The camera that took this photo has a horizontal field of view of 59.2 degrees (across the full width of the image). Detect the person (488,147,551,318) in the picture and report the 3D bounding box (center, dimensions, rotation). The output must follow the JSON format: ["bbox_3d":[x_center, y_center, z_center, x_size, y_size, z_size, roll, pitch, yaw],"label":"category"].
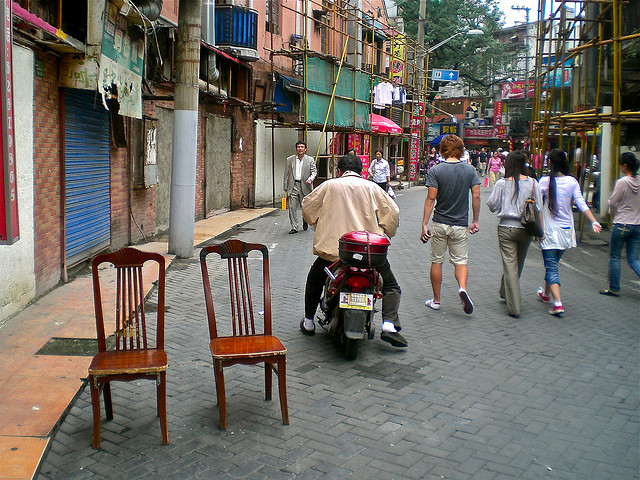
[{"bbox_3d":[2.767,-0.131,7.913,0.806,2.232,1.056,5,10,23],"label":"person"}]

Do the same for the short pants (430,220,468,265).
[{"bbox_3d":[1.766,0.001,7.746,0.539,0.755,0.316,3,23,10],"label":"short pants"}]

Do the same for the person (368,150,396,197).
[{"bbox_3d":[2.099,-2.071,19.859,0.795,2.258,0.569,6,28,18],"label":"person"}]

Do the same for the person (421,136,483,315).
[{"bbox_3d":[1.805,-0.215,7.762,0.764,2.392,0.802,4,9,16],"label":"person"}]

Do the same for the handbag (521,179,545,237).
[{"bbox_3d":[2.893,-0.419,7.692,0.220,0.904,0.423,-9,-29,28],"label":"handbag"}]

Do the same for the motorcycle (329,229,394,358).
[{"bbox_3d":[0.408,0.587,6.001,0.572,1.409,0.760,2,9,1],"label":"motorcycle"}]
